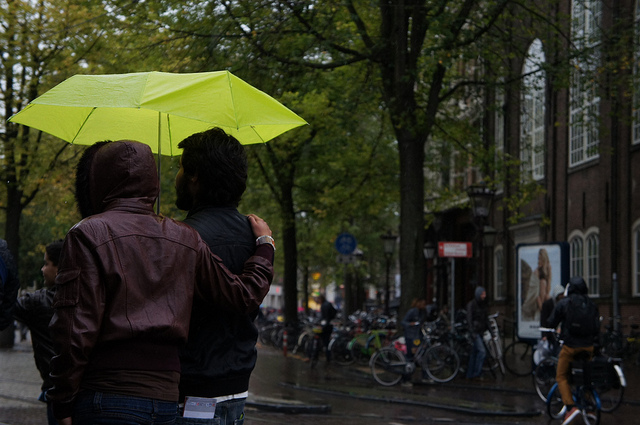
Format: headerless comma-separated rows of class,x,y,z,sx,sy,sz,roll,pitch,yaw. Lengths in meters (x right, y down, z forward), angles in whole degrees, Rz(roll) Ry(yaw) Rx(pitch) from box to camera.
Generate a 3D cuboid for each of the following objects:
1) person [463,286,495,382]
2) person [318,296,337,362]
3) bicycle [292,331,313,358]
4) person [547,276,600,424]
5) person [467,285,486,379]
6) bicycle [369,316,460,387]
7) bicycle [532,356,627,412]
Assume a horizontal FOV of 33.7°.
person,3.898,3.090,26.741,0.558,2.297,0.783,1,6,7
person,0.167,3.585,31.795,0.855,1.944,0.631,4,-55,4
bicycle,-0.723,4.169,33.610,0.303,0.781,0.599,24,-19,-30
person,5.006,2.725,20.932,0.862,2.839,0.660,-4,7,-39
person,3.903,3.077,26.778,0.451,2.268,0.614,1,6,8
bicycle,2.306,3.500,26.427,2.467,1.537,1.197,-8,-21,31
bicycle,5.393,3.471,21.817,1.063,1.232,2.110,4,-4,-34
